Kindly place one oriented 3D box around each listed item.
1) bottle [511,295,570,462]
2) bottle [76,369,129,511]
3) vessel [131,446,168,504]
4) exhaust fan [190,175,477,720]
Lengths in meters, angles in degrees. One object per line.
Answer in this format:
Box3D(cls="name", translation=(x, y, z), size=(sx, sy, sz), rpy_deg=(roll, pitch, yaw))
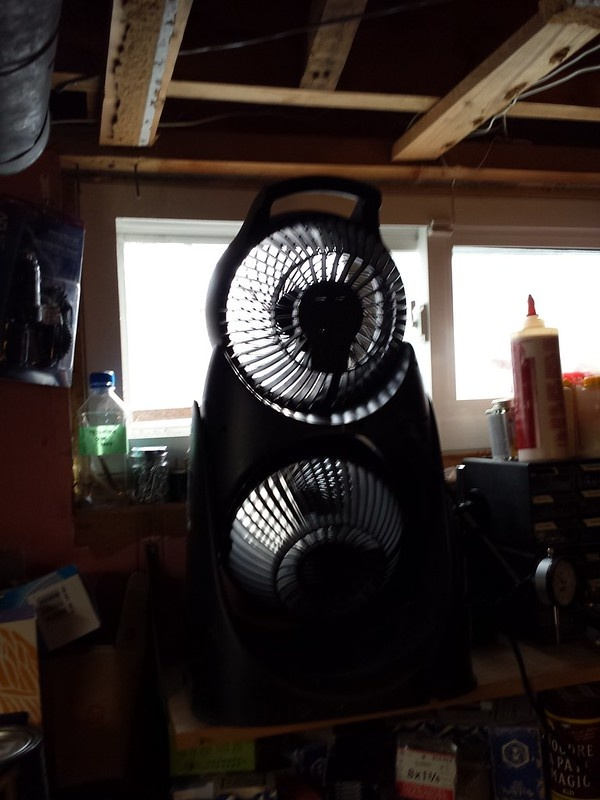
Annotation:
Box3D(cls="bottle", translation=(0.378, -0.040, 1.076), size=(0.088, 0.273, 0.120), rpy_deg=(-2, -3, 30))
Box3D(cls="bottle", translation=(-0.325, 0.062, 1.113), size=(0.080, 0.211, 0.082), rpy_deg=(-1, -3, 0))
Box3D(cls="vessel", translation=(-0.240, 0.125, 1.135), size=(0.061, 0.091, 0.098), rpy_deg=(-3, -3, 38))
Box3D(cls="exhaust fan", translation=(0.016, 0.048, 0.742), size=(0.275, 0.578, 0.213), rpy_deg=(-3, 11, -11))
